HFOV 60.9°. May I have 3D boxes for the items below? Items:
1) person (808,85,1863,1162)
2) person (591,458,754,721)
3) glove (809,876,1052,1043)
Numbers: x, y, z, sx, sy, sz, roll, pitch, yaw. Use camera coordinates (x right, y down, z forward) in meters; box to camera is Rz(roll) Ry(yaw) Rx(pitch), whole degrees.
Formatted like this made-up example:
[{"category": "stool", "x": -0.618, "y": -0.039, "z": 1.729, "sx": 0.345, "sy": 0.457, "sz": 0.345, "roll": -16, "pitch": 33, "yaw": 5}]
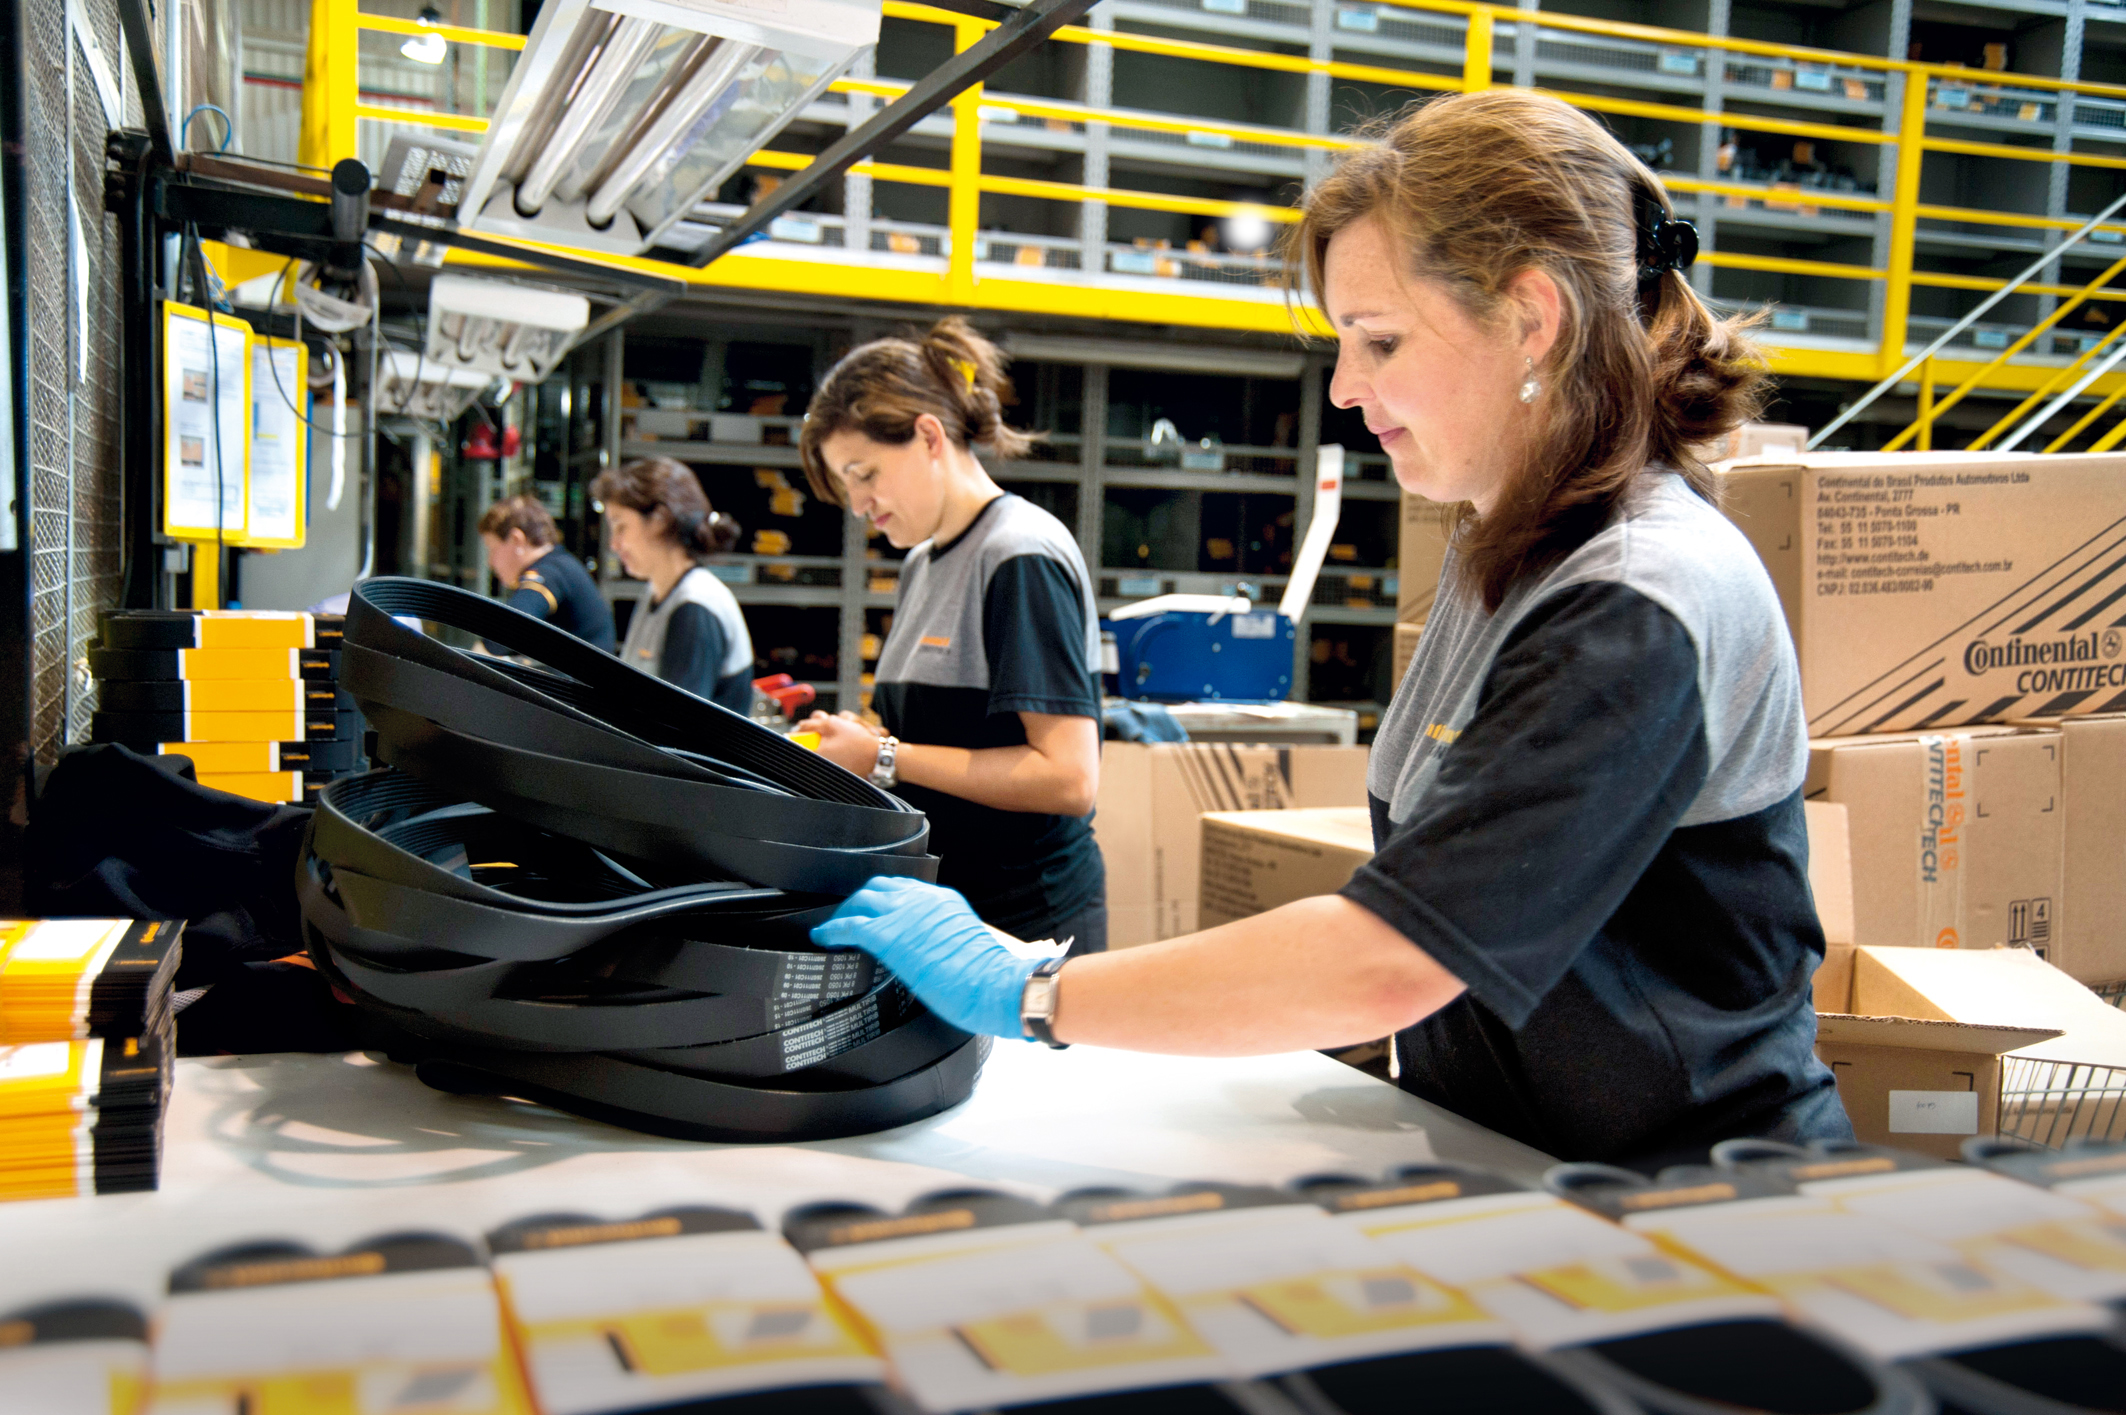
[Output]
[{"category": "person", "x": 0.352, "y": -0.078, "z": 1.837, "sx": 0.885, "sy": 1.072, "sz": 0.466, "roll": -3, "pitch": 15, "yaw": -10}, {"category": "person", "x": -1.005, "y": -0.302, "z": 4.695, "sx": 0.360, "sy": 0.636, "sz": 1.164, "roll": -5, "pitch": 14, "yaw": -13}, {"category": "glove", "x": -0.135, "y": 0.233, "z": 1.856, "sx": 0.067, "sy": 0.147, "sz": 0.289, "roll": 46, "pitch": 12, "yaw": 36}]
